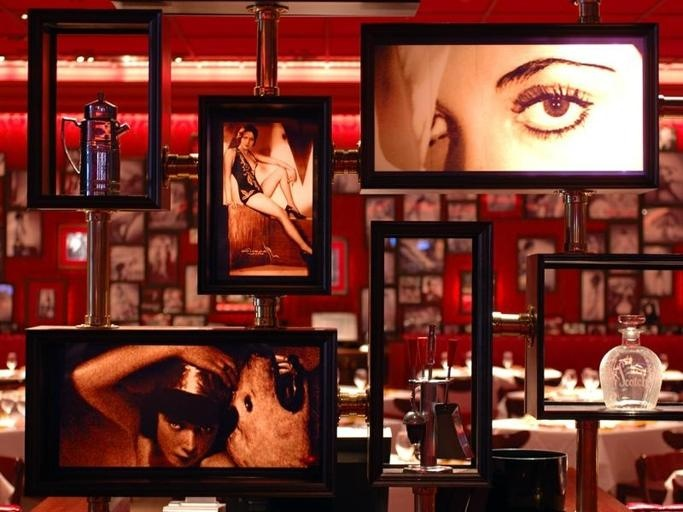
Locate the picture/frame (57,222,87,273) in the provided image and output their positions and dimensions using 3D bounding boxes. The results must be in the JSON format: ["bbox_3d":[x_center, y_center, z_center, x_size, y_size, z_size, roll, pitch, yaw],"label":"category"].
[{"bbox_3d":[-2.177,-0.073,10.485,0.223,0.353,0.193,2,-6,-15],"label":"picture/frame"}]

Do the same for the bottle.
[{"bbox_3d":[1.151,0.420,5.153,0.236,0.363,0.245,1,-8,0],"label":"bottle"}]

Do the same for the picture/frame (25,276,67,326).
[{"bbox_3d":[-2.394,0.364,10.463,0.371,0.530,0.049,-1,0,-3],"label":"picture/frame"}]
